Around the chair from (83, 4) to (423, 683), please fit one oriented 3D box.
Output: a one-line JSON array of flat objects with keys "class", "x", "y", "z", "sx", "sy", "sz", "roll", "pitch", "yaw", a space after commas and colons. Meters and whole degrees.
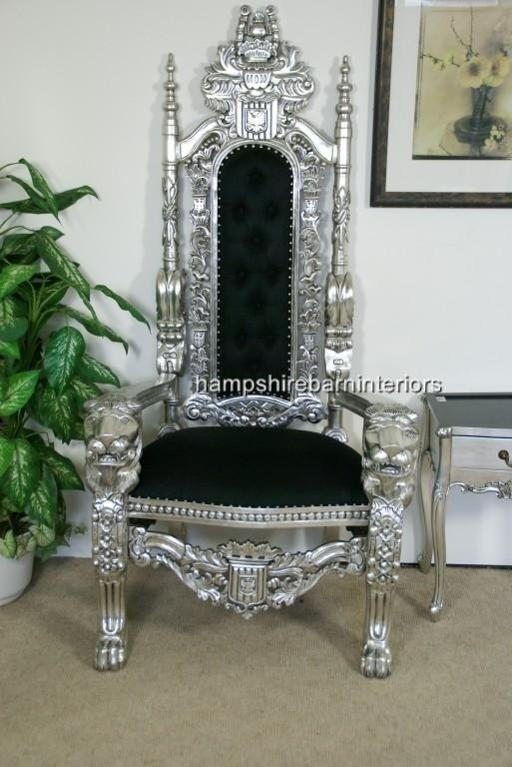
[{"class": "chair", "x": 0.004, "y": -0.154, "z": 1.933, "sx": 0.751, "sy": 1.595, "sz": 0.689, "roll": 1, "pitch": 14, "yaw": 2}]
